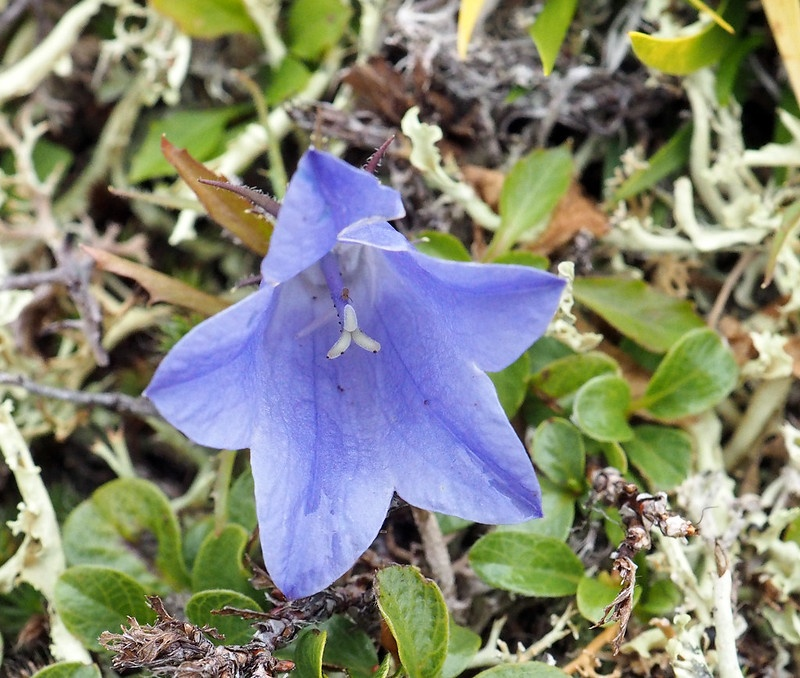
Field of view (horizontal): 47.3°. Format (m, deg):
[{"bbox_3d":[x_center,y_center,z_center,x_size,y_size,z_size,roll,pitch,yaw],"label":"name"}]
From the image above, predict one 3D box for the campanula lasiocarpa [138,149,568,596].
[{"bbox_3d":[-0.056,0.046,0.990,0.384,0.219,0.489,-11,66,-18],"label":"campanula lasiocarpa"}]
